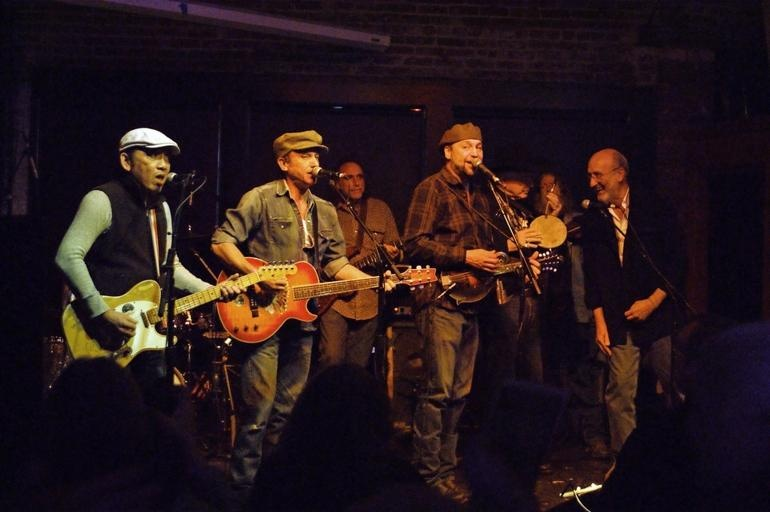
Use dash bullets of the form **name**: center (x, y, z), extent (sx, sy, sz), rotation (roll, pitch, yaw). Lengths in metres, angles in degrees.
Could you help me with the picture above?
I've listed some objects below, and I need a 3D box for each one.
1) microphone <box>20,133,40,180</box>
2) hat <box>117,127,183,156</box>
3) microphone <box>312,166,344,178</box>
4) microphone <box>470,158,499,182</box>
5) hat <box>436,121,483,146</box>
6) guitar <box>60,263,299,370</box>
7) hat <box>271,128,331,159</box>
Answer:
- **microphone**: center (-3.295, -0.937, 6.353), extent (0.134, 0.436, 0.123), rotation (2, 3, 0)
- **hat**: center (-1.496, -0.732, 4.348), extent (0.325, 0.128, 0.258), rotation (-1, 3, -5)
- **microphone**: center (-0.373, -0.562, 4.612), extent (0.203, 0.087, 0.194), rotation (3, 3, 11)
- **microphone**: center (0.692, -0.641, 4.881), extent (0.084, 0.081, 0.417), rotation (-26, 33, -9)
- **hat**: center (0.520, -0.939, 4.984), extent (0.210, 0.109, 0.281), rotation (1, -9, -40)
- **guitar**: center (-1.329, 0.354, 4.249), extent (1.227, 0.630, 0.286), rotation (1, 4, -31)
- **hat**: center (-0.592, -0.781, 4.682), extent (0.298, 0.119, 0.229), rotation (0, 1, 33)
